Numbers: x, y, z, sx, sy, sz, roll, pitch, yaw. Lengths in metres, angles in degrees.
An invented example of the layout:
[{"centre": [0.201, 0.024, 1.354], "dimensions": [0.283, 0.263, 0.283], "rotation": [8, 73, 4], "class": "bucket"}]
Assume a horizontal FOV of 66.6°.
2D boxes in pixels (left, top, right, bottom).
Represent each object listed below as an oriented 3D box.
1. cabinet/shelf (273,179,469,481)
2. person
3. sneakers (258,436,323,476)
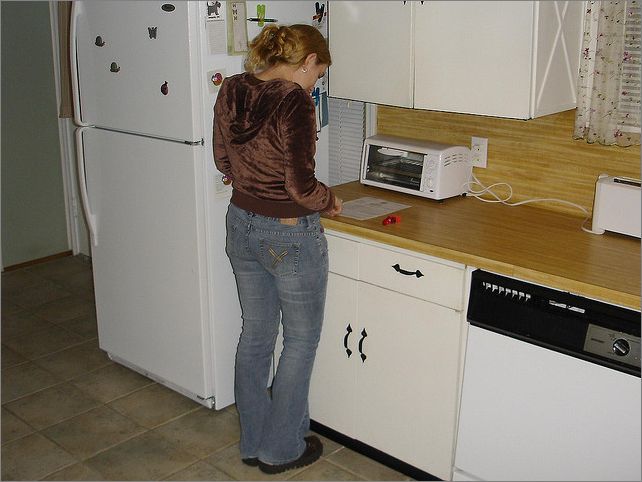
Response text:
[{"centre": [0.222, 0.421, 2.157], "dimensions": [0.939, 1.324, 0.678], "rotation": [17, 23, 39], "class": "cabinet/shelf"}, {"centre": [-0.181, 0.133, 2.125], "dimensions": [0.523, 1.972, 0.352], "rotation": [-1, 19, -4], "class": "person"}, {"centre": [-0.147, 1.047, 2.345], "dimensions": [0.123, 0.143, 0.307], "rotation": [18, 27, 40], "class": "sneakers"}]
